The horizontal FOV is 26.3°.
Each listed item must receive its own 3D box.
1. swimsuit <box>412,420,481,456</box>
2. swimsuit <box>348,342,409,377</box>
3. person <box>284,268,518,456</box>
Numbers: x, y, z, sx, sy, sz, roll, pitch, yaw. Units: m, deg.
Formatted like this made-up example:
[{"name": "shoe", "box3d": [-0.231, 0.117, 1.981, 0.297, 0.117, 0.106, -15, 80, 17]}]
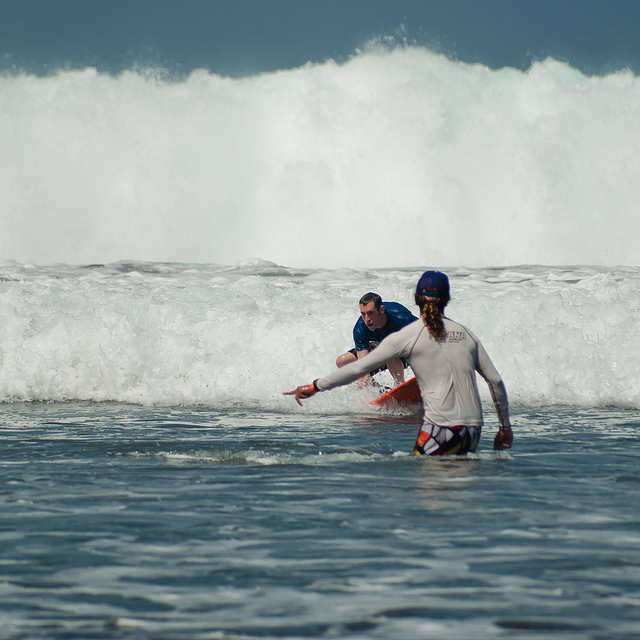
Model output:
[{"name": "swimsuit", "box3d": [0.836, 0.799, 9.073, 0.457, 0.339, 0.184, -1, 41, 5]}, {"name": "swimsuit", "box3d": [0.442, 0.305, 12.352, 0.416, 0.123, 0.371, -13, 61, 33]}, {"name": "person", "box3d": [0.656, 0.372, 11.648, 1.447, 1.752, 0.879, -8, 19, -23]}]
